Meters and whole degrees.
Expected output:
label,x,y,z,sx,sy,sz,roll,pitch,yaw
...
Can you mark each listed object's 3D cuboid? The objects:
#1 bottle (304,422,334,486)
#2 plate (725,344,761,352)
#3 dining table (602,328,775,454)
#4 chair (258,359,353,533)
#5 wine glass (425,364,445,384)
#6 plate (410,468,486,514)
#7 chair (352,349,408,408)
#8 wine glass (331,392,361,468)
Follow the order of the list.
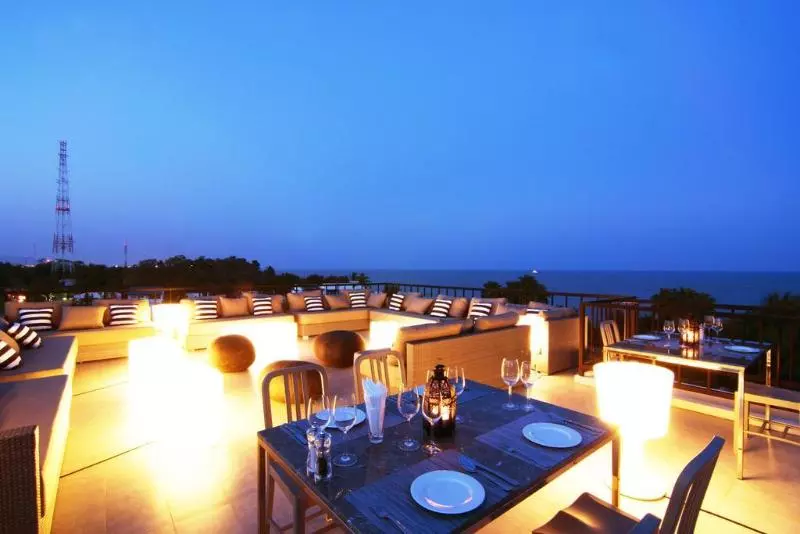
label,x,y,z,sx,sy,sz,roll,pitch,yaw
bottle,-0.815,1.852,5.208,0.266,0.553,0.239,-3,0,-10
plate,4.427,1.055,6.719,0.391,0.074,0.187,-3,-1,6
dining table,3.989,1.549,7.340,1.745,1.519,2.125,6,5,33
chair,-1.141,2.050,6.040,1.025,2.135,1.090,-1,2,-39
wine glass,0.383,1.114,5.472,0.171,0.199,0.175,0,3,2
plate,0.463,2.185,5.054,0.692,0.396,0.185,-3,0,8
chair,-0.333,1.417,6.470,0.632,0.902,0.674,0,5,-42
wine glass,-0.573,1.679,5.367,0.253,0.697,0.234,-1,9,-2
